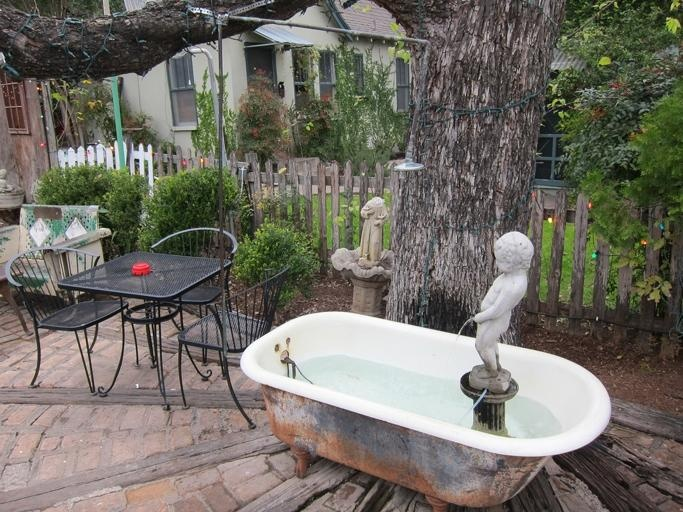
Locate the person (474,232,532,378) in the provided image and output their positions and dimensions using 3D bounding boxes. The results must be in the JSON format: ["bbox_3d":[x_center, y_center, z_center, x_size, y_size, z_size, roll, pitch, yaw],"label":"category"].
[{"bbox_3d":[1.124,0.330,3.896,0.396,0.999,0.226,1,14,-1],"label":"person"}]

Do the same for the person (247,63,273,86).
[{"bbox_3d":[-1.822,-4.023,12.301,0.672,0.214,0.787,12,27,9],"label":"person"}]

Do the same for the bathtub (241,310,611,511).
[{"bbox_3d":[0.562,1.201,4.170,2.512,1.024,1.142,8,15,24],"label":"bathtub"}]
